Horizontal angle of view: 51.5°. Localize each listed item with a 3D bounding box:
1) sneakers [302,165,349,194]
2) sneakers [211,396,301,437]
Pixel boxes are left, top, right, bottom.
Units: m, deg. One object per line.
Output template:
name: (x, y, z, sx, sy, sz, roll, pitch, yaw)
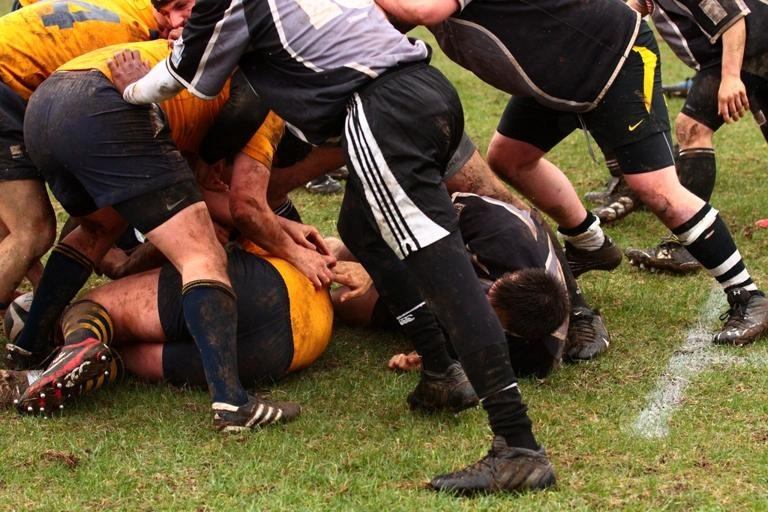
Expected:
sneakers: (-0.514, -0.678, 7.349, 0.181, 0.252, 0.599, 13, 6, 31)
sneakers: (-0.677, 0.830, 4.237, 0.454, 0.169, 0.173, -10, 17, -28)
